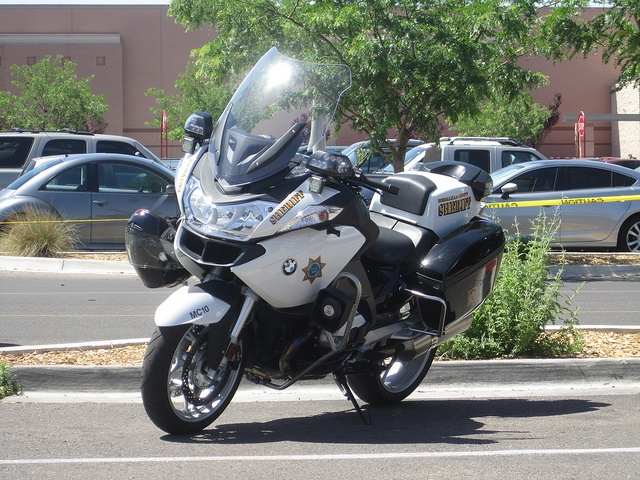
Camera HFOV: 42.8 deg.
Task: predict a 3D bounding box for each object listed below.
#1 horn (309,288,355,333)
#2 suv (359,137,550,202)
[{"bbox_3d":[0.161,0.614,7.106,0.429,0.393,0.389,-5,15,-43],"label":"horn"},{"bbox_3d":[3.780,-2.105,20.533,4.627,1.939,2.340,-2,6,-4],"label":"suv"}]
